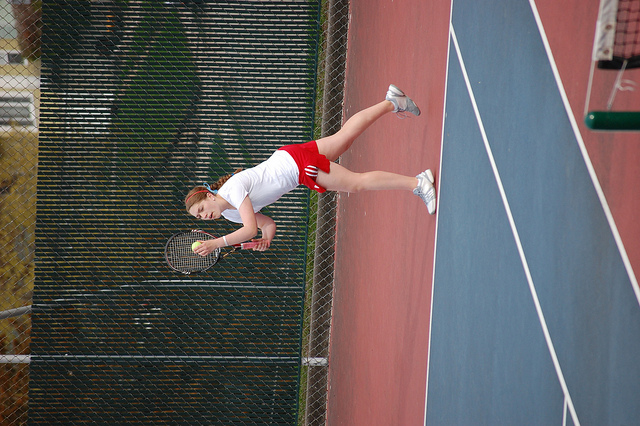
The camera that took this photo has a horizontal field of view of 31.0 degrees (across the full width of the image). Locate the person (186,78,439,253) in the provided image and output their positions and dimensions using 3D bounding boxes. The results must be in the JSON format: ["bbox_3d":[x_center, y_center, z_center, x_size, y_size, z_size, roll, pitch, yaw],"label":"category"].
[{"bbox_3d":[-0.115,-0.250,9.179,1.984,0.633,1.035,-17,91,1],"label":"person"}]

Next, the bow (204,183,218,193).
[{"bbox_3d":[-0.875,-0.208,9.237,0.068,0.026,0.095,7,27,-48],"label":"bow"}]
